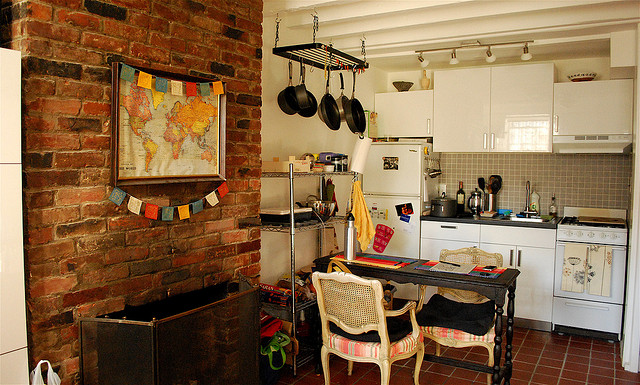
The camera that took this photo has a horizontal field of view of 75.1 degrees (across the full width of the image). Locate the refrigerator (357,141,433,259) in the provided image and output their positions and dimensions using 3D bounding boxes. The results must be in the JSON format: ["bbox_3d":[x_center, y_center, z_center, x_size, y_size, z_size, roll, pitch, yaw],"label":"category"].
[{"bbox_3d":[0.875,0.145,6.156,1.310,1.767,1.324,6,9,30],"label":"refrigerator"}]

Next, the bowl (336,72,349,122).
[{"bbox_3d":[0.239,-1.005,4.407,0.072,0.446,0.212,-6,6,33],"label":"bowl"}]

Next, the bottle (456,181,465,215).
[{"bbox_3d":[2.009,0.064,5.905,0.114,0.441,0.288,3,5,19],"label":"bottle"}]

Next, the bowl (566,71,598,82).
[{"bbox_3d":[3.225,-1.407,5.102,0.231,0.055,0.227,-1,3,0],"label":"bowl"}]

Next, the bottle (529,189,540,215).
[{"bbox_3d":[2.904,0.111,5.611,0.134,0.307,0.067,4,6,26],"label":"bottle"}]

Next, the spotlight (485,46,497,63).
[{"bbox_3d":[2.117,-1.710,5.135,0.142,0.152,0.135,-17,20,8],"label":"spotlight"}]

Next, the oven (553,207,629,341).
[{"bbox_3d":[3.398,1.010,5.041,0.860,1.427,0.858,2,-9,38],"label":"oven"}]
